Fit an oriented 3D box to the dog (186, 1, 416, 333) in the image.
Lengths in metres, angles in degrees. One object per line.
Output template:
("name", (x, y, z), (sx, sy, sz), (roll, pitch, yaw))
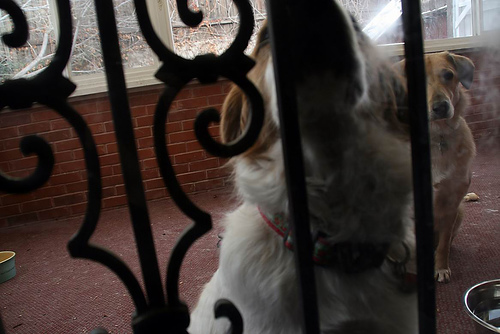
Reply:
("dog", (0.138, 0.090, 0.927), (0.376, 0.848, 0.355), (-1, 29, -2))
